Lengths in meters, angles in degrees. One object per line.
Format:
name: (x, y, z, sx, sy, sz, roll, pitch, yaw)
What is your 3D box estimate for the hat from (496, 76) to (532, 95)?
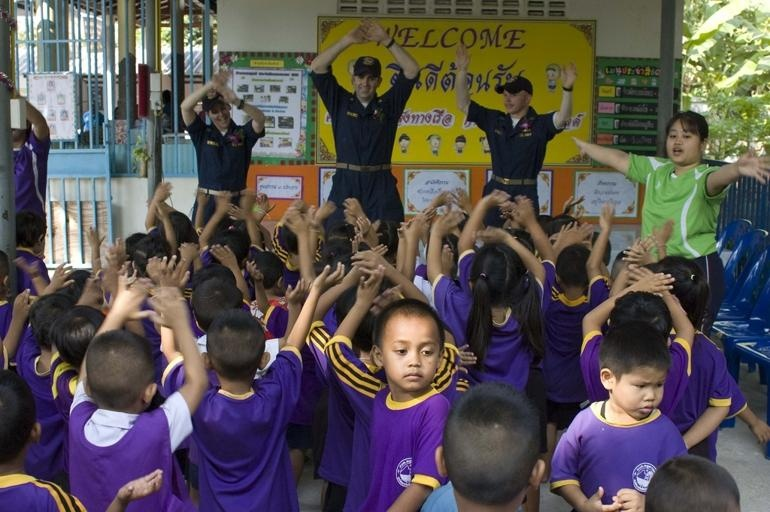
hat: (1.010, -1.299, 6.057, 0.258, 0.150, 0.189, 6, 5, -22)

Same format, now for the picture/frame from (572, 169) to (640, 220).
picture/frame: (2.120, -0.644, 7.691, 0.654, 0.539, 0.069, 0, 6, -10)

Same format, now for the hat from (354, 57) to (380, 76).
hat: (-0.128, -1.428, 5.834, 0.194, 0.156, 0.172, -2, 9, -28)

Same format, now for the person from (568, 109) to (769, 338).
person: (1.728, -0.236, 4.572, 0.555, 1.229, 0.992, -2, 9, -29)
